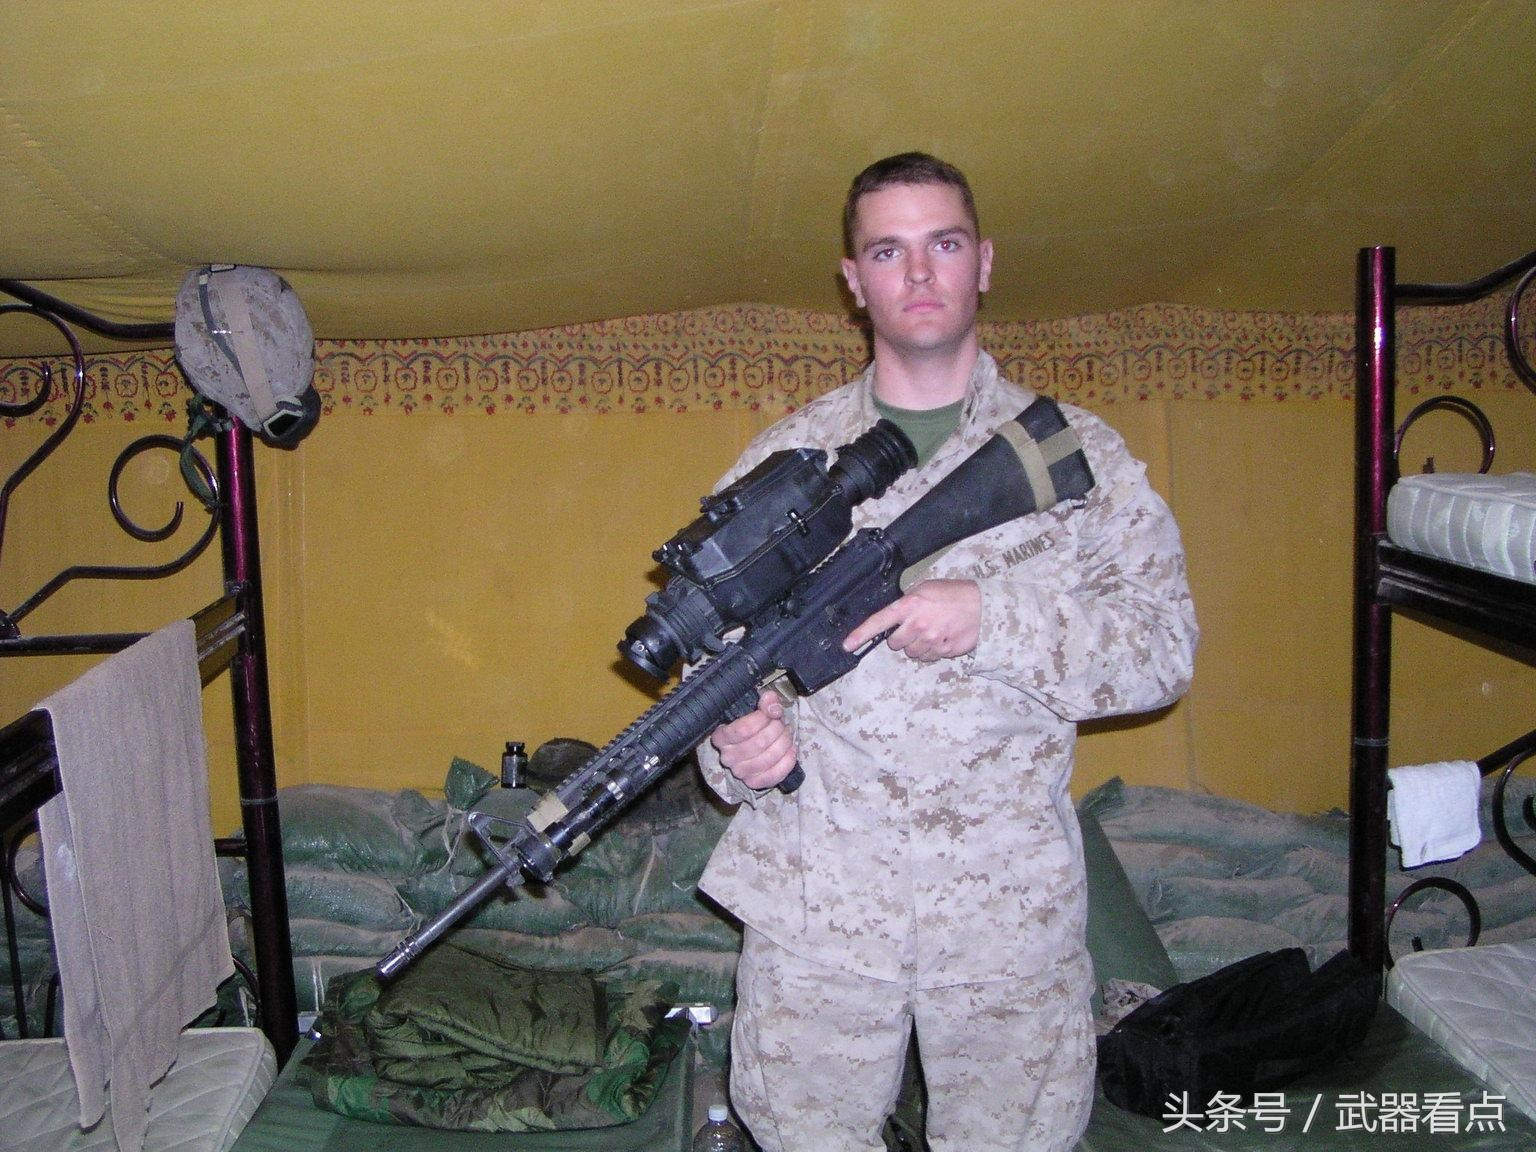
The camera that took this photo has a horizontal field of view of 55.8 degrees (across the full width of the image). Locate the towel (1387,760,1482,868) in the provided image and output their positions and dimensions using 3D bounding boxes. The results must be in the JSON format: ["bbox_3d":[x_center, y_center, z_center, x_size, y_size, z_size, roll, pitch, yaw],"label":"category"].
[{"bbox_3d":[1.866,0.667,4.064,0.268,0.284,0.099,1,2,-6],"label":"towel"}]

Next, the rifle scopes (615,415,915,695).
[{"bbox_3d":[0.000,-0.067,3.312,0.780,0.295,0.308,-38,32,-18],"label":"rifle scopes"}]
